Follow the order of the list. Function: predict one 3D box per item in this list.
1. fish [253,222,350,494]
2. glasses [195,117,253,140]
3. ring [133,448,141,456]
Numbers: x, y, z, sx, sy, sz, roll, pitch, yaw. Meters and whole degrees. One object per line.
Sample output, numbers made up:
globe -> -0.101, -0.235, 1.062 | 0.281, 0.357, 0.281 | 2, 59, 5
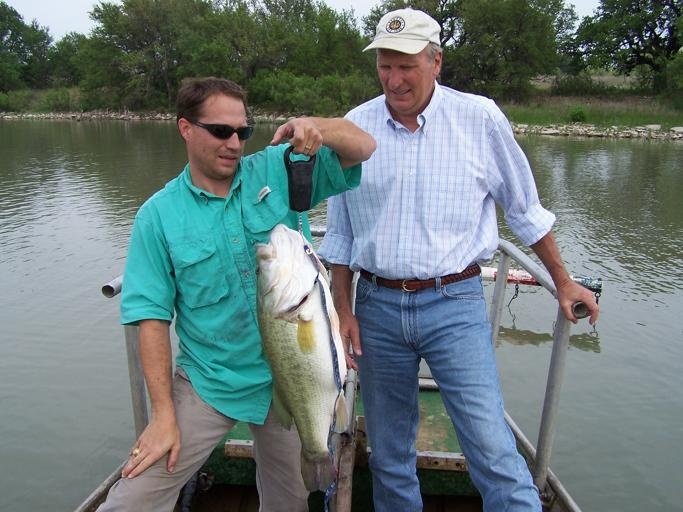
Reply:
fish -> -0.180, 0.464, 2.840 | 0.468, 1.526, 0.366 | -9, 12, -2
glasses -> -0.629, -0.666, 2.822 | 0.311, 0.111, 0.143 | -5, 11, -17
ring -> -1.026, 0.984, 2.677 | 0.030, 0.036, 0.033 | 6, -9, 1
